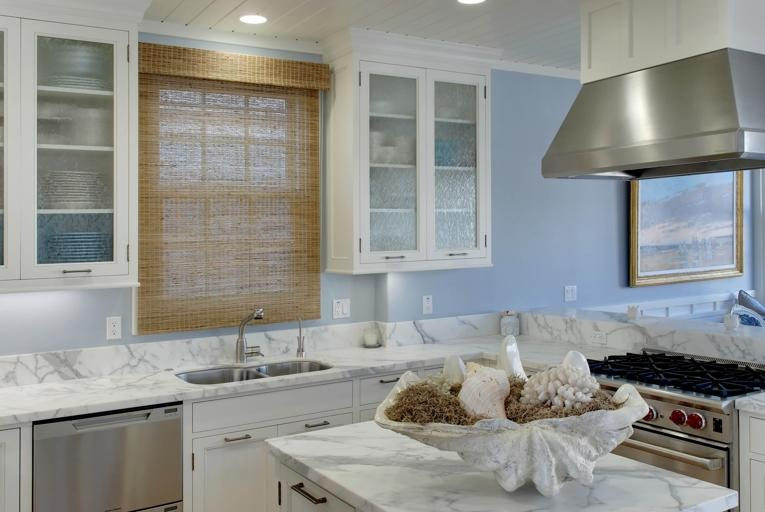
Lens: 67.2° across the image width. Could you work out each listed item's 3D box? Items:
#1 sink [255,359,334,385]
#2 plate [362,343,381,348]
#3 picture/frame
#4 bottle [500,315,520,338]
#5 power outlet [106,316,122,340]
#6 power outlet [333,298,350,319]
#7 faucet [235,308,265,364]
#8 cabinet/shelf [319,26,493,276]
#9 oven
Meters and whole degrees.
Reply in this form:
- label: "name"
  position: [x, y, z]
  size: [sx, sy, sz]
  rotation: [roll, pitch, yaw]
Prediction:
- label: "sink"
  position: [-0.596, 0.718, 3.657]
  size: [0.257, 0.083, 0.195]
  rotation: [1, 0, -32]
- label: "plate"
  position: [-0.078, 0.628, 4.045]
  size: [0.133, 0.030, 0.103]
  rotation: [-1, 4, -3]
- label: "picture/frame"
  position: [2.788, -0.290, 5.258]
  size: [1.657, 1.074, 0.065]
  rotation: [-5, 6, -28]
- label: "bottle"
  position: [0.974, 0.525, 4.405]
  size: [0.148, 0.160, 0.134]
  rotation: [-1, 5, 10]
- label: "power outlet"
  position: [-1.602, 0.426, 3.419]
  size: [0.090, 0.139, 0.021]
  rotation: [-3, 5, -21]
- label: "power outlet"
  position: [-0.297, 0.368, 4.025]
  size: [0.156, 0.133, 0.017]
  rotation: [4, -8, -34]
- label: "faucet"
  position: [-0.844, 0.492, 3.634]
  size: [0.192, 0.341, 0.281]
  rotation: [-3, 5, -11]
- label: "cabinet/shelf"
  position: [0.192, -0.684, 3.960]
  size: [1.184, 1.543, 0.341]
  rotation: [-3, 5, -19]
- label: "oven"
  position: [1.456, 0.961, 2.863]
  size: [0.442, 0.365, 0.591]
  rotation: [3, -2, -38]
